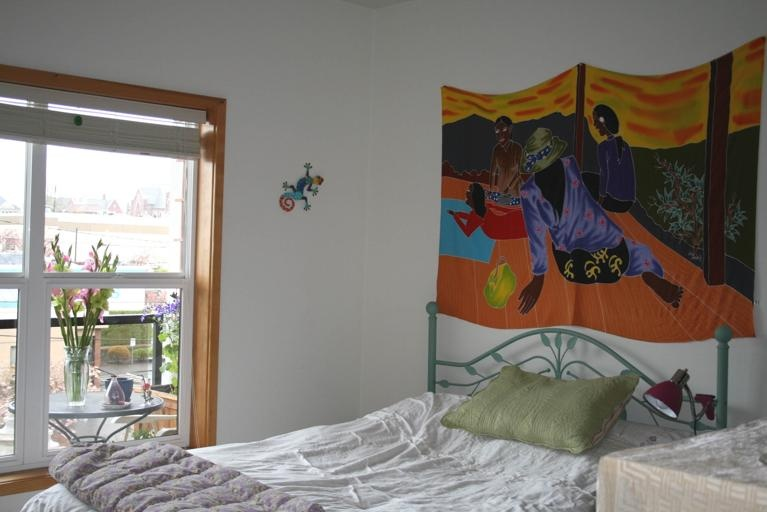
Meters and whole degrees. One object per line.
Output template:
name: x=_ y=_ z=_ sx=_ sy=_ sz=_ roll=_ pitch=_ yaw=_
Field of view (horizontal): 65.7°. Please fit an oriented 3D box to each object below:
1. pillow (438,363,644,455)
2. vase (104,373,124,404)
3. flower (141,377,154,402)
pillow: x=0.842 y=0.802 z=3.242 sx=0.890 sy=0.449 sz=0.468 roll=13 pitch=13 yaw=31
vase: x=-1.757 y=0.876 z=3.915 sx=0.149 sy=0.221 sz=0.151 roll=1 pitch=0 yaw=-17
flower: x=-1.561 y=0.885 z=3.898 sx=0.049 sy=0.126 sz=0.080 roll=0 pitch=-26 yaw=-37
